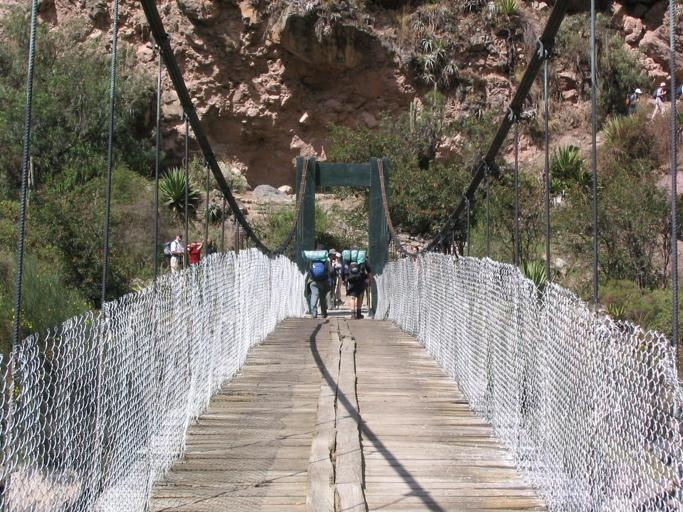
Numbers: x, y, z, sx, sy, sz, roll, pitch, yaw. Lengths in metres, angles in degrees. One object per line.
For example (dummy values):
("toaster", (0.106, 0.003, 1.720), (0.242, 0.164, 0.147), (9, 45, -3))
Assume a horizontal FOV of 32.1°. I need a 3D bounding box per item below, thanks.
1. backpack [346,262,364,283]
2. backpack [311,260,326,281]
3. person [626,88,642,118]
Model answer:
("backpack", (0.330, 0.368, 27.438), (0.242, 0.497, 0.392), (0, 0, 5))
("backpack", (-0.532, 0.418, 27.457), (0.391, 0.784, 0.333), (0, -7, -4))
("person", (9.987, -5.365, 40.493), (0.440, 0.747, 1.713), (3, 17, 14))
